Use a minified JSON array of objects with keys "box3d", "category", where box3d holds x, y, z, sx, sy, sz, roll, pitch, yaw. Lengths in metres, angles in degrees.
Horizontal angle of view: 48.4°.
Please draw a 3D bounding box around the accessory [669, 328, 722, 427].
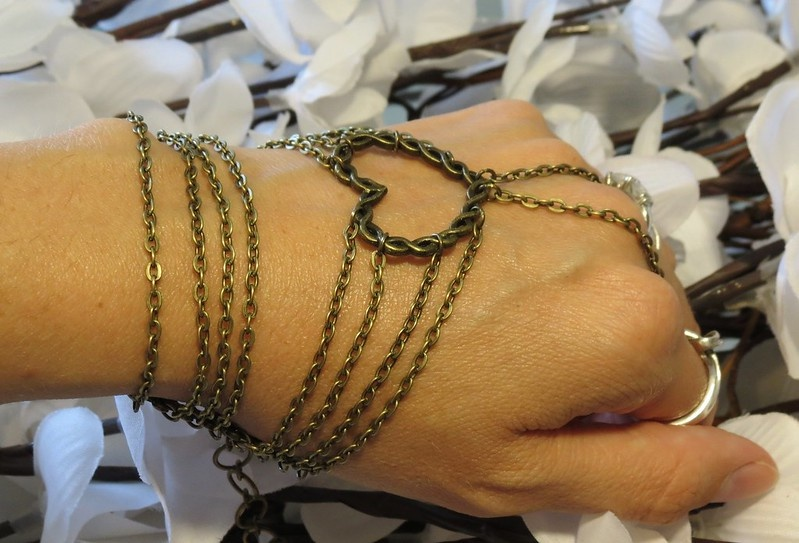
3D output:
[{"box3d":[0.740,0.275,2.334,0.171,0.088,0.229,-19,117,-36],"category":"accessory"}]
